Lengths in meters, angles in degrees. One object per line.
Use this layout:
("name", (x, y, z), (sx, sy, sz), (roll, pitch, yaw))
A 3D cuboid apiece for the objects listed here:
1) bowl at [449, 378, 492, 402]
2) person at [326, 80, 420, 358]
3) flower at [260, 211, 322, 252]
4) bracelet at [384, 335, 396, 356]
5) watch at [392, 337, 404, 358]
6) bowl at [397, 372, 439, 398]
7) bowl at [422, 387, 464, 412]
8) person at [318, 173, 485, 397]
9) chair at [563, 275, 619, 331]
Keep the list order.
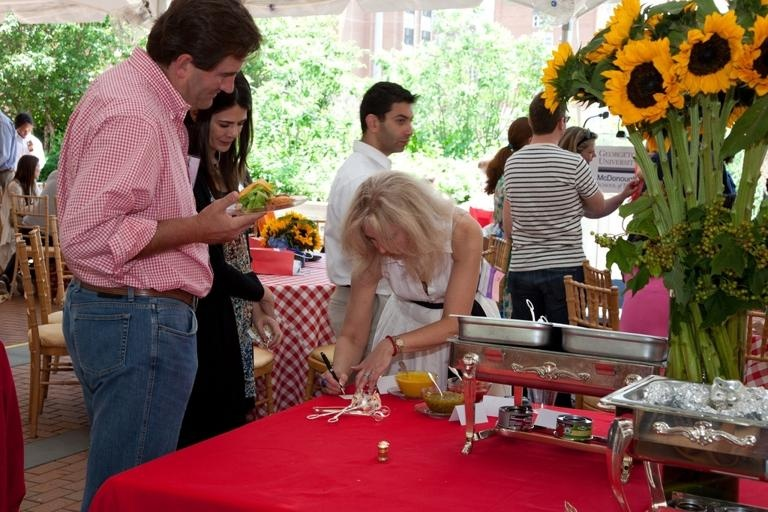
("bowl", (0.269, 0.419, 1.762), (0.122, 0.049, 0.121), (1, -7, 0))
("person", (-0.030, -0.019, 3.332), (0.630, 1.957, 0.604), (2, 21, 5))
("flower", (-0.676, -0.192, 4.097), (0.332, 0.281, 0.333), (-1, 17, -11))
("bracelet", (0.031, 0.309, 1.924), (0.015, 0.052, 0.057), (-14, -34, -7))
("watch", (0.045, 0.327, 1.972), (0.063, 0.061, 0.062), (-2, 4, -13))
("bowl", (0.111, 0.412, 1.801), (0.091, 0.040, 0.090), (-1, 0, 0))
("bowl", (0.176, 0.434, 1.666), (0.079, 0.032, 0.078), (0, 4, 0))
("person", (0.084, 0.114, 2.054), (0.530, 0.866, 0.634), (1, 7, 10))
("chair", (0.989, 0.221, 2.650), (0.183, 0.279, 0.187), (-29, 34, -34))
